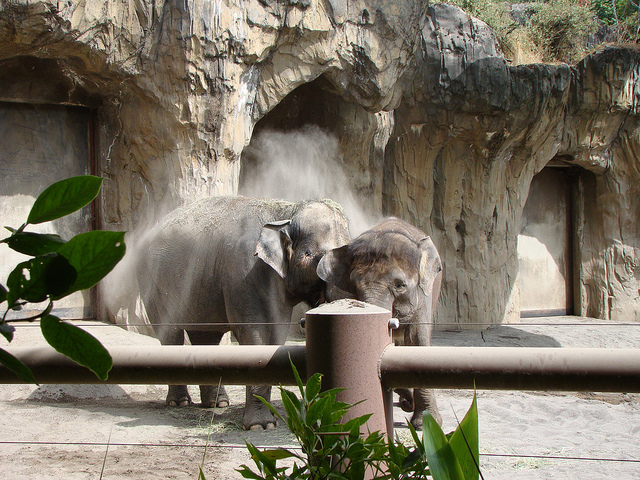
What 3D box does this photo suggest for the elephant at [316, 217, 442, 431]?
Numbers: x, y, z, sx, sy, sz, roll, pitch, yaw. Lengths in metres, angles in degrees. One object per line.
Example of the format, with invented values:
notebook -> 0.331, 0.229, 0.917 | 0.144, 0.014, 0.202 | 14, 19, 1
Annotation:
elephant -> 0.616, 0.718, 7.782 | 0.885, 1.709, 2.139 | -2, -2, 14

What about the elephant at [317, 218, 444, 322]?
elephant -> 0.534, 0.247, 7.348 | 0.611, 0.819, 1.081 | 2, -11, 9
